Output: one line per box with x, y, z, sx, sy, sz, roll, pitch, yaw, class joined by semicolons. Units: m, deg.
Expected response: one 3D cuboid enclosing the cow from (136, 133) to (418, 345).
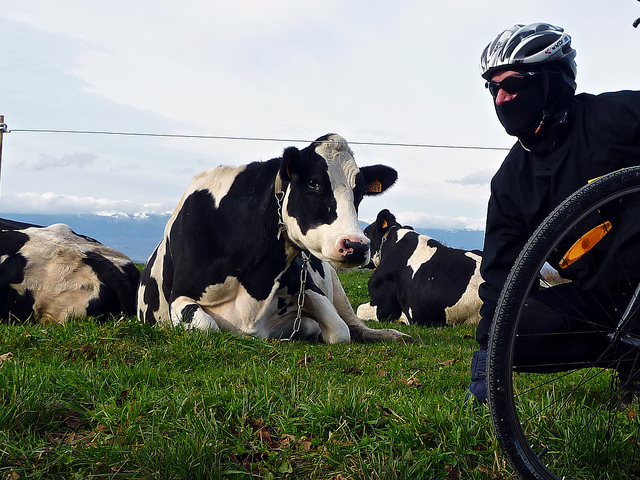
-0.876;0.326;6.661;2.212;1.656;3.297;5;-14;-34;cow

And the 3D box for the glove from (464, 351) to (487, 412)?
1.073;0.918;3.652;0.097;0.323;0.317;4;-3;4;glove

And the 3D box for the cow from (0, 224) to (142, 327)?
-2.893;0.414;6.457;1.060;1.280;2.096;-4;2;-44;cow
